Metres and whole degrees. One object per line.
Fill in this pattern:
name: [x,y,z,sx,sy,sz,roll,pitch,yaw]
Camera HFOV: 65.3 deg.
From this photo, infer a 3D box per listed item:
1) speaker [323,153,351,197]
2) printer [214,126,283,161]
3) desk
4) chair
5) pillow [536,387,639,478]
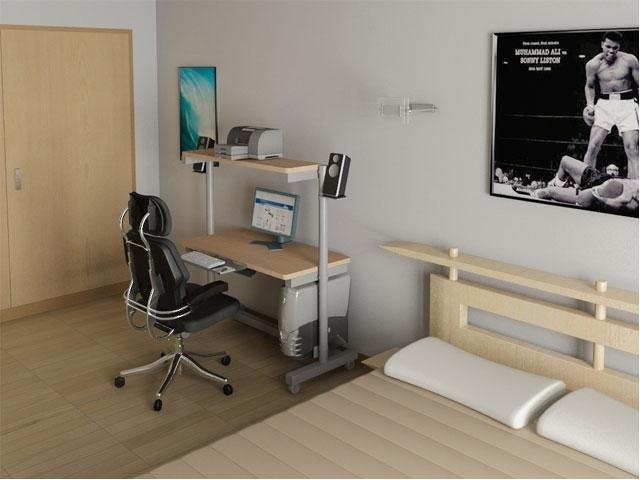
speaker: [0.123,-0.471,3.710,0.169,0.323,0.164,-7,19,-26]
printer: [-0.609,-0.825,4.272,0.472,0.255,0.499,-8,17,-33]
desk: [-0.382,0.286,4.150,0.796,1.905,1.778,-10,16,-40]
chair: [-1.056,0.412,3.866,0.862,1.423,0.928,10,11,41]
pillow: [1.456,0.966,2.614,0.476,0.150,0.406,15,22,40]
